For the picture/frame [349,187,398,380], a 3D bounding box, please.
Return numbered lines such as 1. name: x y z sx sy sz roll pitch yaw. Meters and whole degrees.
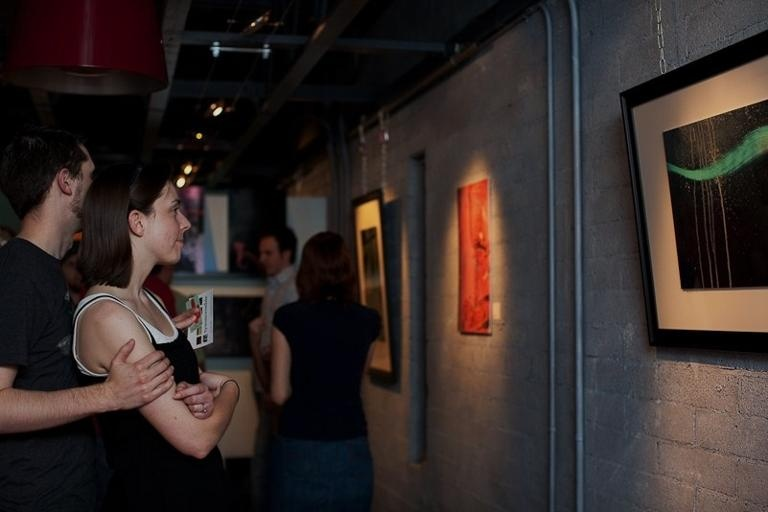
1. picture/frame: -0.109 0.214 4.591 0.033 1.368 0.725 -3 -3 -19
